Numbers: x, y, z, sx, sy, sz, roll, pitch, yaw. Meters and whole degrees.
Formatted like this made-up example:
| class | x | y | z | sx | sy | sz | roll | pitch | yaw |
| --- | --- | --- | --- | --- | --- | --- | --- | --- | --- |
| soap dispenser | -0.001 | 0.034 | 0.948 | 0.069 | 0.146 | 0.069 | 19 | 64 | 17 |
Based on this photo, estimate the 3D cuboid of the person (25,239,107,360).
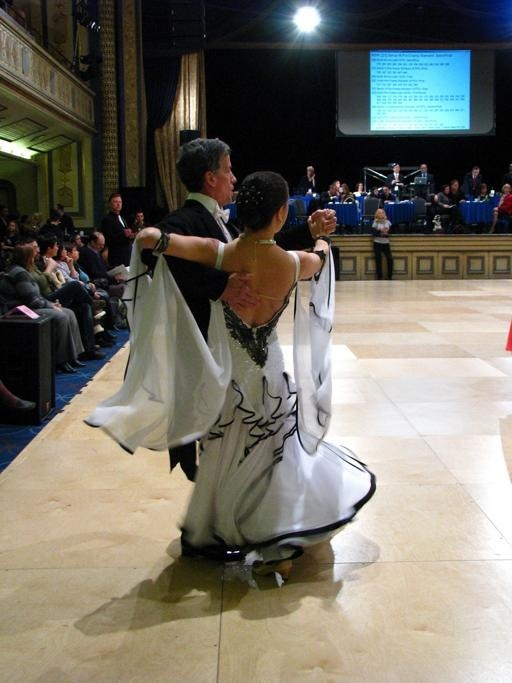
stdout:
| class | x | y | z | sx | sy | sz | roll | pitch | yaw |
| --- | --- | --- | --- | --- | --- | --- | --- | --- | --- |
| person | -1.931 | -0.497 | 5.819 | 0.680 | 1.239 | 0.420 | -1 | -4 | 40 |

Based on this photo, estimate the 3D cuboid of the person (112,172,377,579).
| class | x | y | z | sx | sy | sz | roll | pitch | yaw |
| --- | --- | --- | --- | --- | --- | --- | --- | --- | --- |
| person | 0.024 | 0.094 | 1.682 | 0.847 | 1.144 | 0.449 | -1 | 12 | -24 |

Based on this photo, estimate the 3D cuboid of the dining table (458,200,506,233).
| class | x | y | z | sx | sy | sz | roll | pitch | yaw |
| --- | --- | --- | --- | --- | --- | --- | --- | --- | --- |
| dining table | 5.910 | -3.363 | 14.329 | 0.958 | 0.834 | 0.929 | 0 | 5 | 3 |

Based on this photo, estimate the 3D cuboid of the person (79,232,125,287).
| class | x | y | z | sx | sy | sz | roll | pitch | yaw |
| --- | --- | --- | --- | --- | --- | --- | --- | --- | --- |
| person | -2.186 | -1.049 | 7.563 | 0.544 | 0.942 | 0.533 | 13 | 16 | 38 |

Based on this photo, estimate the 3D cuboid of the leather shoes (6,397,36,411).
| class | x | y | z | sx | sy | sz | roll | pitch | yaw |
| --- | --- | --- | --- | --- | --- | --- | --- | --- | --- |
| leather shoes | -1.514 | 0.397 | 3.455 | 0.194 | 0.065 | 0.068 | 9 | 10 | -2 |

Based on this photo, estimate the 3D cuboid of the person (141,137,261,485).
| class | x | y | z | sx | sy | sz | roll | pitch | yaw |
| --- | --- | --- | --- | --- | --- | --- | --- | --- | --- |
| person | -0.158 | -0.072 | 1.659 | 0.246 | 1.090 | 0.423 | -2 | 4 | -10 |

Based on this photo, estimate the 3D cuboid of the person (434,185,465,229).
| class | x | y | z | sx | sy | sz | roll | pitch | yaw |
| --- | --- | --- | --- | --- | --- | --- | --- | --- | --- |
| person | 5.115 | -3.566 | 14.523 | 0.733 | 1.386 | 1.198 | 0 | 4 | 19 |

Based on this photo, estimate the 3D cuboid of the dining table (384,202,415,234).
| class | x | y | z | sx | sy | sz | roll | pitch | yaw |
| --- | --- | --- | --- | --- | --- | --- | --- | --- | --- |
| dining table | 3.680 | -3.202 | 14.119 | 0.776 | 0.700 | 0.742 | -1 | 10 | 3 |

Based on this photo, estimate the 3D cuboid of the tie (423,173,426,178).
| class | x | y | z | sx | sy | sz | roll | pitch | yaw |
| --- | --- | --- | --- | --- | --- | --- | --- | --- | --- |
| tie | 4.508 | -4.472 | 14.590 | 0.092 | 0.124 | 0.060 | -19 | 24 | -22 |

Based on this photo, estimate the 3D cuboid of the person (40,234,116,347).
| class | x | y | z | sx | sy | sz | roll | pitch | yaw |
| --- | --- | --- | --- | --- | --- | --- | --- | --- | --- |
| person | -2.027 | -0.609 | 6.586 | 0.735 | 1.238 | 0.453 | 4 | 27 | 10 |

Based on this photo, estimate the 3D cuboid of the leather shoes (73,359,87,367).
| class | x | y | z | sx | sy | sz | roll | pitch | yaw |
| --- | --- | --- | --- | --- | --- | --- | --- | --- | --- |
| leather shoes | -1.738 | 0.211 | 5.340 | 0.054 | 0.066 | 0.161 | 5 | 9 | 10 |

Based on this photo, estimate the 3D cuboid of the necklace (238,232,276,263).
| class | x | y | z | sx | sy | sz | roll | pitch | yaw |
| --- | --- | --- | --- | --- | --- | --- | --- | --- | --- |
| necklace | 0.000 | -0.262 | 1.527 | 0.070 | 0.085 | 0.049 | 2 | 10 | 3 |
